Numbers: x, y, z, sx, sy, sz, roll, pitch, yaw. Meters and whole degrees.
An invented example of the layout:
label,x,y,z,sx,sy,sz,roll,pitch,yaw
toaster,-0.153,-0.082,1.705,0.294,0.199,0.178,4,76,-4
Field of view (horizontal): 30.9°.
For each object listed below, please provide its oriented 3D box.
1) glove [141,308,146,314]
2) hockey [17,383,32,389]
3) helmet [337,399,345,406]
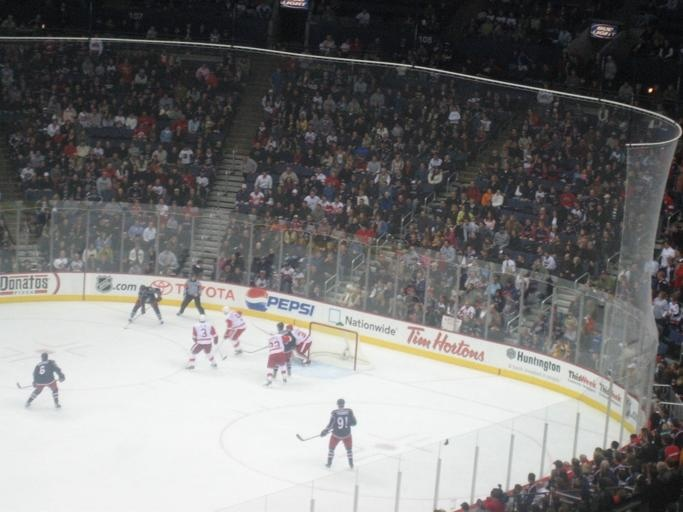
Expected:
label,x,y,z,sx,sy,sz,roll,pitch,yaw
glove,-6.841,1.914,42.889,0.160,0.209,0.163,3,4,44
hockey,-9.478,3.843,36.820,0.437,0.181,0.860,7,0,-16
helmet,-0.008,3.990,33.963,0.172,0.227,0.220,3,21,0
